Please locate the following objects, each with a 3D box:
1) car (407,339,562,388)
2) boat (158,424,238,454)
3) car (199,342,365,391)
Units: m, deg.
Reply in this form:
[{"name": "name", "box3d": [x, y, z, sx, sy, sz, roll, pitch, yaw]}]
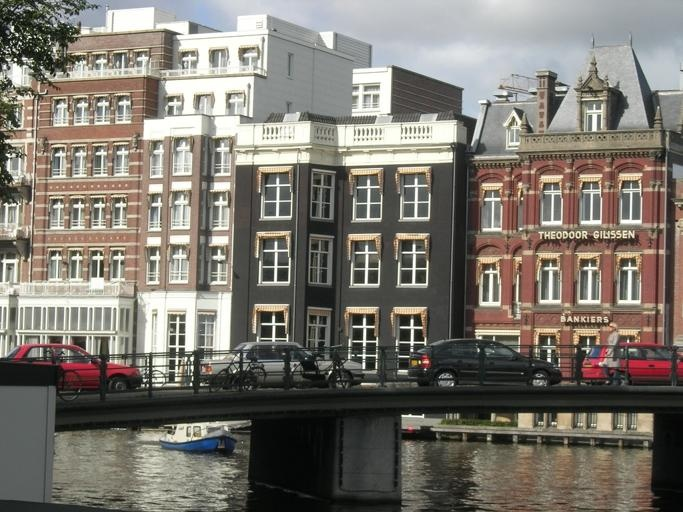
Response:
[{"name": "car", "box3d": [5.917, 4.767, 67.965, 5.642, 1.780, 2.494, -1, -3, -4]}, {"name": "boat", "box3d": [-7.744, 9.433, 85.502, 1.800, 1.611, 5.752, 9, -11, -34]}, {"name": "car", "box3d": [-2.394, 4.595, 67.407, 6.579, 2.265, 2.591, 1, -3, 1]}]
